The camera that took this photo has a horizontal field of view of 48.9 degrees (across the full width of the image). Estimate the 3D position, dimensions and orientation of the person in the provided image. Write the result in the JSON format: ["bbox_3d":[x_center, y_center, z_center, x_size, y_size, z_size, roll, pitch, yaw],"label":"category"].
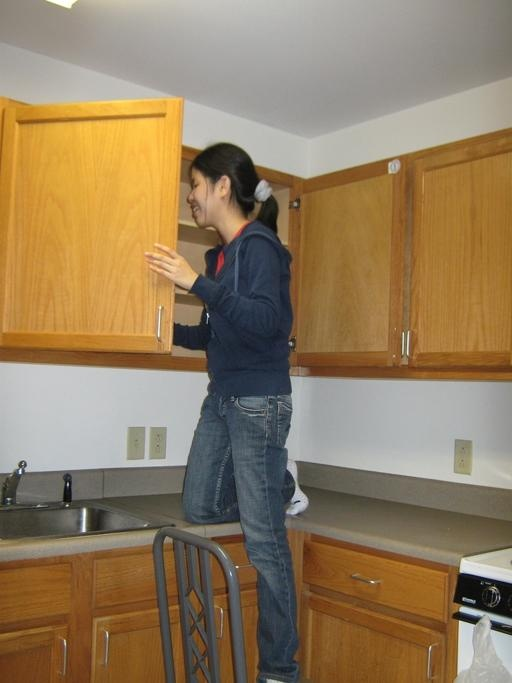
[{"bbox_3d":[-0.067,0.175,1.564,0.421,1.481,0.465,2,-3,4],"label":"person"}]
